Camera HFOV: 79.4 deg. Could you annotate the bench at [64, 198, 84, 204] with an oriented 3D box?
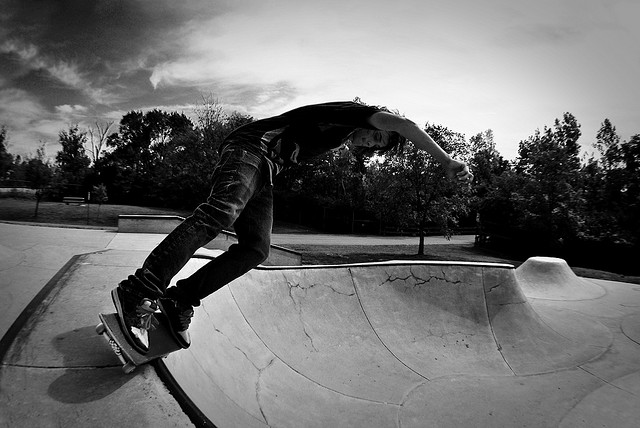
[{"bbox_3d":[-14.138,-0.724,21.990,0.930,0.297,0.968,5,3,-34],"label":"bench"}]
